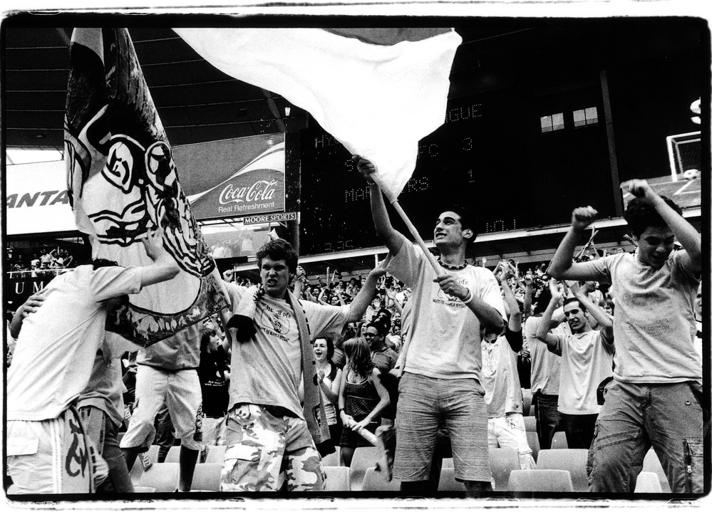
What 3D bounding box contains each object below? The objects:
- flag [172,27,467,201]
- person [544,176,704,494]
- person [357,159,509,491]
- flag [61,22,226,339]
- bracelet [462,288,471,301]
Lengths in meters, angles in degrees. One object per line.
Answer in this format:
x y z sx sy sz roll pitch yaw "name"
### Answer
-0.159 -1.499 6.488 1.668 0.655 1.767 10 36 14 "flag"
2.264 0.644 6.229 0.978 2.575 0.522 -2 -1 24 "person"
0.663 0.841 6.525 1.167 3.169 0.972 -1 -14 5 "person"
-1.845 -0.633 6.471 1.149 3.140 0.335 -11 33 -7 "flag"
0.902 0.323 6.350 0.076 0.098 0.066 -3 -13 -10 "bracelet"
